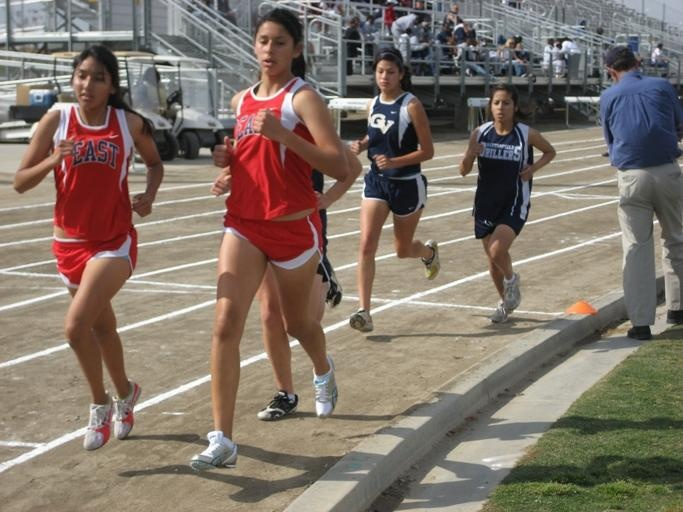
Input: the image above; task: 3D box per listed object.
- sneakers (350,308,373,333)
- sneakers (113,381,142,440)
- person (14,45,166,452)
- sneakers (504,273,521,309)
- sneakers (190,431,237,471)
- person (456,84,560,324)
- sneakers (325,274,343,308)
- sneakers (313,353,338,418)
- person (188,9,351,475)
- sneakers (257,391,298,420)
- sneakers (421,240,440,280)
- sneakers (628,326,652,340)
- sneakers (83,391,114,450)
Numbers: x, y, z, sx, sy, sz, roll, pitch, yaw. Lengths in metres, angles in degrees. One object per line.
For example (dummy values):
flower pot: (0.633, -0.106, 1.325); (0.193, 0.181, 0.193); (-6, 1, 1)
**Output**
sneakers: (0.188, 0.589, 6.631); (0.132, 0.141, 0.289); (-9, -26, 18)
sneakers: (-1.334, 0.966, 4.647); (0.143, 0.351, 0.172); (1, -4, 22)
person: (-1.512, -0.044, 4.502); (0.733, 2.446, 0.852); (-2, 12, -4)
sneakers: (1.636, 0.339, 7.046); (0.139, 0.356, 0.174); (-3, -17, 37)
sneakers: (-0.654, 1.045, 3.951); (0.131, 0.149, 0.359); (-5, -9, 35)
person: (1.550, -0.526, 7.129); (0.653, 2.227, 0.825); (7, 14, 31)
sneakers: (-0.065, 0.282, 5.733); (0.125, 0.279, 0.131); (-2, -3, 3)
sneakers: (-0.094, 0.839, 4.754); (0.156, 0.382, 0.185); (-5, -4, 21)
person: (-0.441, -0.142, 4.175); (1.029, 2.473, 0.759); (-8, 14, -31)
sneakers: (-0.414, 0.992, 4.968); (0.125, 0.128, 0.332); (16, 15, 40)
sneakers: (0.993, 0.030, 7.991); (0.184, 0.457, 0.222); (4, 38, 19)
sneakers: (2.623, 0.675, 6.530); (0.104, 0.134, 0.211); (-5, 12, -16)
sneakers: (-1.467, 0.985, 4.440); (0.139, 0.336, 0.157); (-3, -13, 4)
